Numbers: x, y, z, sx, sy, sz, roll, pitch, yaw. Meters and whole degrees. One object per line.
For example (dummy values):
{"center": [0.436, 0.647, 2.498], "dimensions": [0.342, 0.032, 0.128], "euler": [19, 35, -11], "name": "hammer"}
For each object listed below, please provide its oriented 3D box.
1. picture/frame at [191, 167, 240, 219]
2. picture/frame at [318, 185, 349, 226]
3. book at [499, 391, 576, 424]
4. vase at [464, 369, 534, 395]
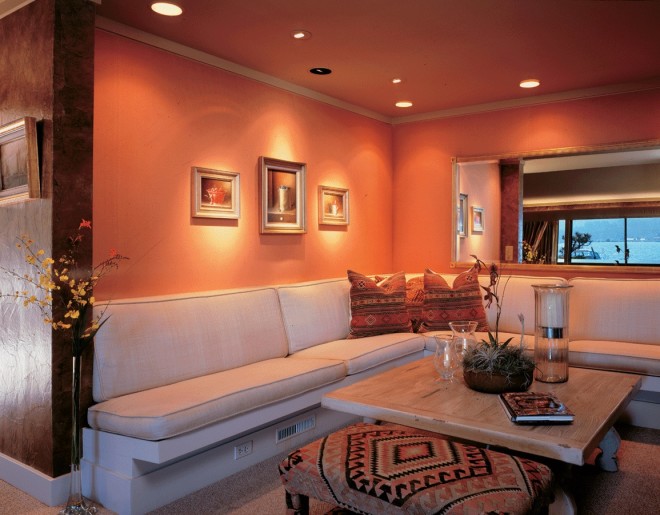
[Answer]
{"center": [-0.916, -0.506, 3.665], "dimensions": [0.486, 0.376, 0.048], "euler": [1, -3, -43], "name": "picture/frame"}
{"center": [0.016, -0.531, 4.746], "dimensions": [0.482, 0.362, 0.050], "euler": [1, 0, -45], "name": "picture/frame"}
{"center": [0.955, 0.696, 2.234], "dimensions": [0.281, 0.060, 0.297], "euler": [0, 3, -1], "name": "book"}
{"center": [0.881, 0.642, 2.472], "dimensions": [0.203, 0.065, 0.190], "euler": [-3, -1, -12], "name": "vase"}
